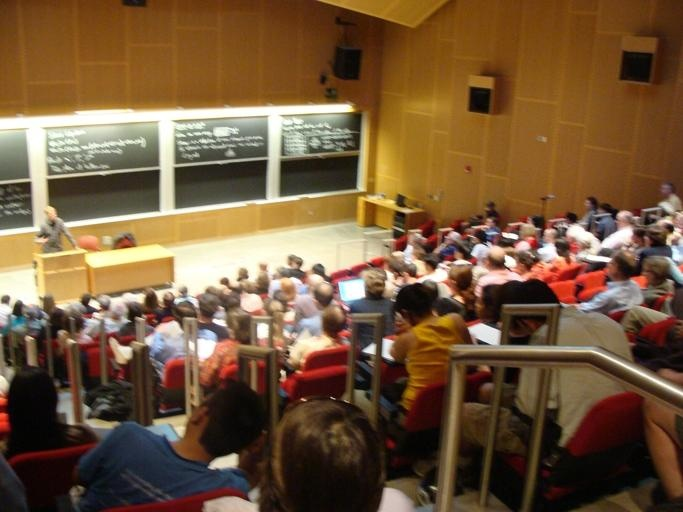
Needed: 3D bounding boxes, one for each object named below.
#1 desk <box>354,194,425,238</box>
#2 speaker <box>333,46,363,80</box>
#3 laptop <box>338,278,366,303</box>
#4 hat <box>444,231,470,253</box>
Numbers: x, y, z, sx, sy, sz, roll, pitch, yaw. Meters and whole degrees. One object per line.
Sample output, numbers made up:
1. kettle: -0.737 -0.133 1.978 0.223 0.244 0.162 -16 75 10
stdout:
1. desk: 1.216 -1.038 13.804 0.518 0.827 1.802 -18 30 -40
2. speaker: 0.116 -4.923 13.149 0.700 0.819 0.512 -3 8 -9
3. laptop: 0.121 0.451 6.871 0.323 0.287 0.324 -3 8 -8
4. hat: 2.222 -0.303 9.926 0.473 0.251 0.374 30 23 32
